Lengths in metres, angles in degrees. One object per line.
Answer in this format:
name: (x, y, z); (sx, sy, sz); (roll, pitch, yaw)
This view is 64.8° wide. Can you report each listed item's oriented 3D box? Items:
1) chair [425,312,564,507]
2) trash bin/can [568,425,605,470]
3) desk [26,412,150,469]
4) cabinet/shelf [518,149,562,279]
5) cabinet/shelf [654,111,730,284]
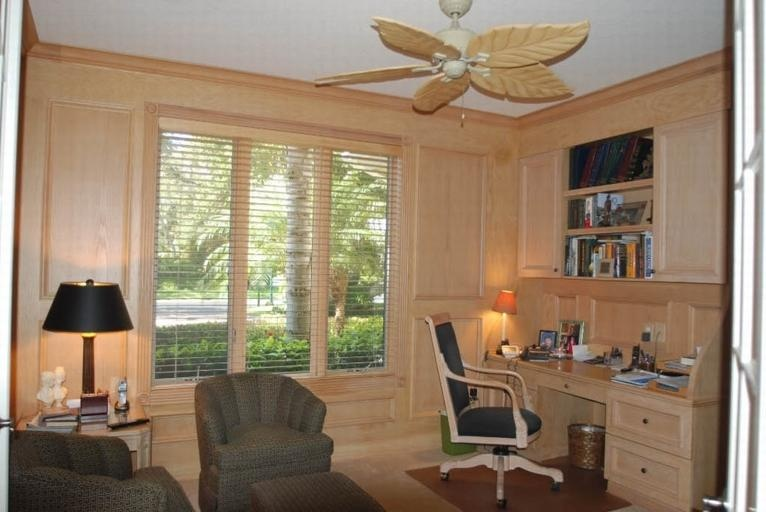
chair: (1.056, 1.212, 5.457); (1.391, 1.627, 1.472); (-2, -4, 17)
trash bin/can: (1.782, 1.711, 5.413); (0.337, 0.325, 0.350); (0, -3, 5)
desk: (-1.966, 1.234, 4.280); (0.720, 0.320, 0.507); (3, -4, -28)
cabinet/shelf: (1.559, -0.418, 5.924); (0.217, 1.228, 0.704); (-3, 9, -25)
cabinet/shelf: (2.410, -0.464, 4.780); (0.197, 1.321, 0.694); (-3, 9, -27)
